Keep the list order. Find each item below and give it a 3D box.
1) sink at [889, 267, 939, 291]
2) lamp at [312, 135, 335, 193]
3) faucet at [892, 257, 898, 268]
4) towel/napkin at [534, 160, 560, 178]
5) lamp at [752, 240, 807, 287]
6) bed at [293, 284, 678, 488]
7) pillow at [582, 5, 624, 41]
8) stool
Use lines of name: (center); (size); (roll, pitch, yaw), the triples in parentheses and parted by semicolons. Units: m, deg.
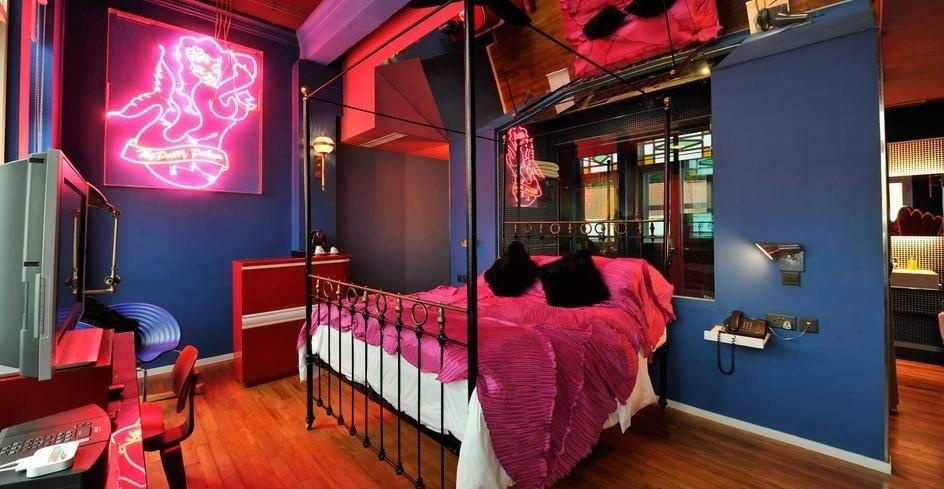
sink: (5.982, 0.479, 7.736); (0.515, 0.272, 0.240); (0, 3, 33)
lamp: (-2.087, -1.148, 8.111); (0.317, 0.767, 0.361); (-3, 3, -13)
faucet: (5.879, 0.253, 7.953); (0.072, 0.149, 0.147); (0, 3, 35)
towel/napkin: (1.017, -1.018, 7.749); (0.270, 0.161, 0.249); (0, 4, -11)
lamp: (3.469, 0.191, 6.291); (0.540, 0.556, 0.390); (-3, 6, 8)
bed: (0.715, 1.224, 6.136); (2.781, 1.119, 2.811); (2, 2, 44)
pillow: (1.527, -2.558, 6.661); (0.099, 0.263, 0.409); (-45, 4, -37)
stool: (-4.194, 1.260, 7.247); (1.278, 1.305, 1.206); (-6, -3, 26)
